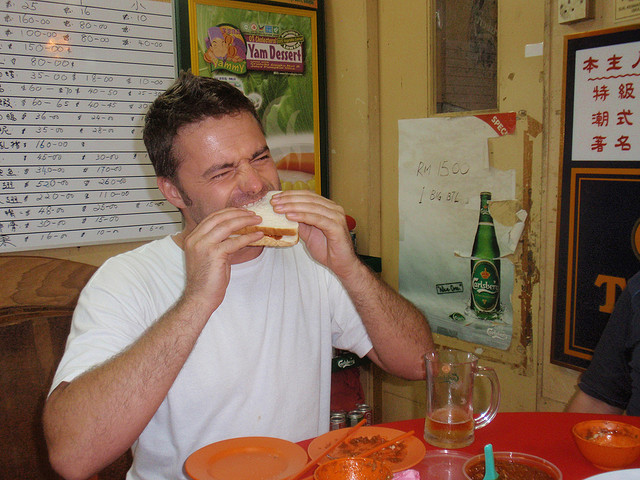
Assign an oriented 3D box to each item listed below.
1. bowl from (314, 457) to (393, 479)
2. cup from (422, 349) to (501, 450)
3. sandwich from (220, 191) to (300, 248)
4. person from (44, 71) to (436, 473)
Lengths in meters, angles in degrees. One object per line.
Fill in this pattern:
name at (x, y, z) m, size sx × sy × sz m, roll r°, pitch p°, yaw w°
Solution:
bowl at (0.075, 0.538, 1.095) m, size 0.175 × 0.039 × 0.058 m, roll -2°, pitch 5°, yaw -2°
cup at (0.412, 0.440, 1.375) m, size 0.195 × 0.221 × 0.278 m, roll 1°, pitch 5°, yaw 28°
sandwich at (-0.206, -0.066, 1.632) m, size 0.220 × 0.210 × 0.278 m, roll -3°, pitch 5°, yaw -18°
person at (-0.314, 0.086, 1.668) m, size 1.183 × 1.397 × 0.481 m, roll -4°, pitch 5°, yaw -24°
